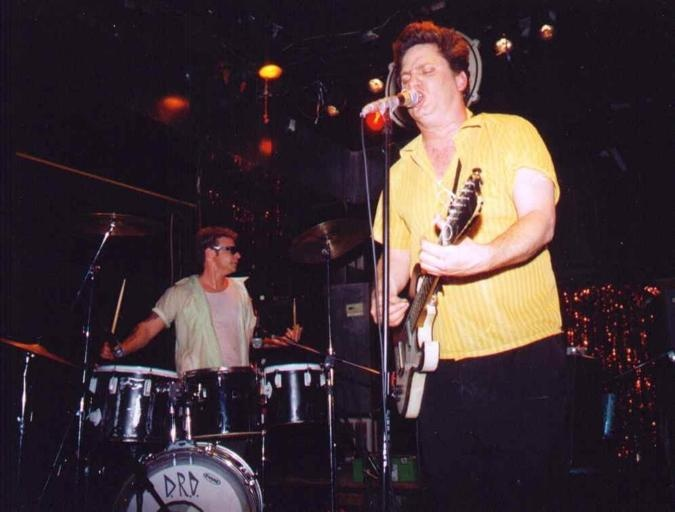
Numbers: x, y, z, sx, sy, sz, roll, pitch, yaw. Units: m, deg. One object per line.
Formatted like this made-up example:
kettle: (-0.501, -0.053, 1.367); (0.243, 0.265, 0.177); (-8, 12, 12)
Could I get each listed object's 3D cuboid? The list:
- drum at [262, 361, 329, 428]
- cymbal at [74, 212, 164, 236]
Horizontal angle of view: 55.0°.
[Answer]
drum: (-0.445, 1.384, 6.439); (0.662, 0.604, 0.690); (-19, -21, 42)
cymbal: (-2.281, -0.329, 6.792); (0.407, 0.119, 0.454); (0, -14, -6)
